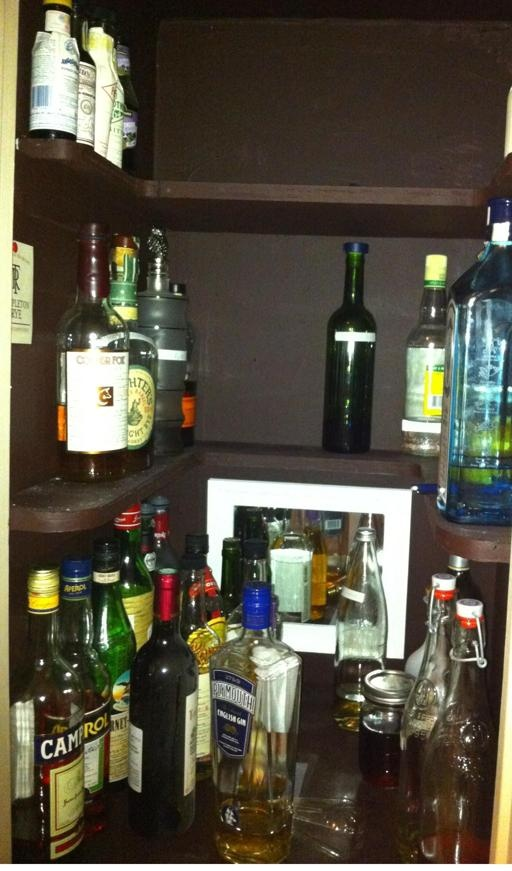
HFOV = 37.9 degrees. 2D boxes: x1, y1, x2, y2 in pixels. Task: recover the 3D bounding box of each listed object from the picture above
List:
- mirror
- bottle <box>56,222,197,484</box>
[{"bbox_3d":[0.106,0.230,1.309,0.319,0.305,0.116,1,4,6],"label":"mirror"},{"bbox_3d":[-0.183,-0.104,0.921,0.119,0.306,0.278,3,6,-7],"label":"bottle"}]
